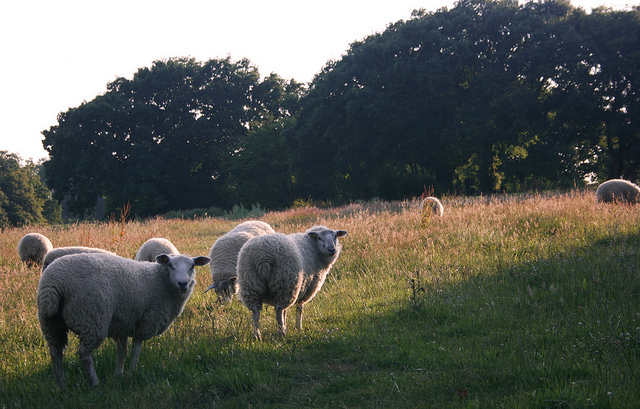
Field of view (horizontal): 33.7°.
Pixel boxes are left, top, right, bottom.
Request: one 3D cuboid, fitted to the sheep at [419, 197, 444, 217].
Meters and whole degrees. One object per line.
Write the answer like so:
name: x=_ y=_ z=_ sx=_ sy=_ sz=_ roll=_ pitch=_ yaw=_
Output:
sheep: x=7.970 y=0.100 z=76.012 sx=1.707 sy=1.376 sz=1.817 roll=-1 pitch=-5 yaw=5
